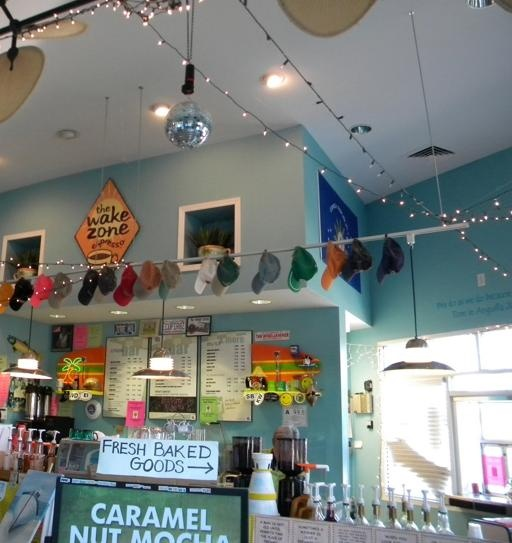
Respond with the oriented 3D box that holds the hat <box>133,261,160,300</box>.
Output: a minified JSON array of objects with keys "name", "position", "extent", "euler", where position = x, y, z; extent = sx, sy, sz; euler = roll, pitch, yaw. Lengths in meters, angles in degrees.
[{"name":"hat","position":[-0.872,0.066,3.595],"extent":[0.201,0.302,0.237],"euler":[6,-17,-15]}]

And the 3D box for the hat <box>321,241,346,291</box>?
[{"name":"hat","position":[0.558,-0.036,3.179],"extent":[0.172,0.353,0.236],"euler":[-2,-17,10]}]

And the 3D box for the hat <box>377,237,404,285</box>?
[{"name":"hat","position":[0.887,-0.075,3.027],"extent":[0.157,0.333,0.182],"euler":[9,-17,-12]}]

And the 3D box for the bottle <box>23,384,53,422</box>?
[{"name":"bottle","position":[-2.883,1.713,5.914],"extent":[0.331,0.462,0.372],"euler":[9,-18,-23]}]

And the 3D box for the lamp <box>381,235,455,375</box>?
[{"name":"lamp","position":[1.134,0.213,3.195],"extent":[0.563,0.938,0.514],"euler":[-5,1,-42]}]

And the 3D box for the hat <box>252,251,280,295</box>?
[{"name":"hat","position":[0.094,0.020,3.397],"extent":[0.197,0.327,0.108],"euler":[20,9,22]}]

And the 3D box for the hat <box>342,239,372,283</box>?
[{"name":"hat","position":[0.678,-0.085,3.036],"extent":[0.165,0.269,0.166],"euler":[2,-17,-3]}]

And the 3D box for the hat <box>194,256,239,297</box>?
[{"name":"hat","position":[-0.273,0.014,3.429],"extent":[0.319,0.333,0.252],"euler":[-3,-17,14]}]

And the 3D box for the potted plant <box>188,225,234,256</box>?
[{"name":"potted plant","position":[-0.481,-0.355,5.013],"extent":[0.369,0.250,0.367],"euler":[3,-7,-32]}]

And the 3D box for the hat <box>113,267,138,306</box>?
[{"name":"hat","position":[-1.063,0.172,3.784],"extent":[0.217,0.090,0.344],"euler":[-30,19,-22]}]

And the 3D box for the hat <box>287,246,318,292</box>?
[{"name":"hat","position":[0.318,-0.030,3.266],"extent":[0.162,0.300,0.311],"euler":[4,-17,-7]}]

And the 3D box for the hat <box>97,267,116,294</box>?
[{"name":"hat","position":[-1.222,0.067,3.662],"extent":[0.134,0.246,0.206],"euler":[8,-18,-21]}]

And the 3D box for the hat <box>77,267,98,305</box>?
[{"name":"hat","position":[-1.420,0.139,3.779],"extent":[0.137,0.293,0.330],"euler":[8,-18,-21]}]

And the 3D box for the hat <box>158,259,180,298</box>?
[{"name":"hat","position":[-0.695,0.070,3.571],"extent":[0.154,0.309,0.246],"euler":[5,-17,-13]}]

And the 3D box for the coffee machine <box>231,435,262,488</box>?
[{"name":"coffee machine","position":[-0.042,0.797,1.888],"extent":[0.125,0.180,0.318],"euler":[2,-16,0]}]

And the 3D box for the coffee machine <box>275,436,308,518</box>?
[{"name":"coffee machine","position":[0.128,0.862,1.867],"extent":[0.142,0.314,0.140],"euler":[16,-25,-24]}]
